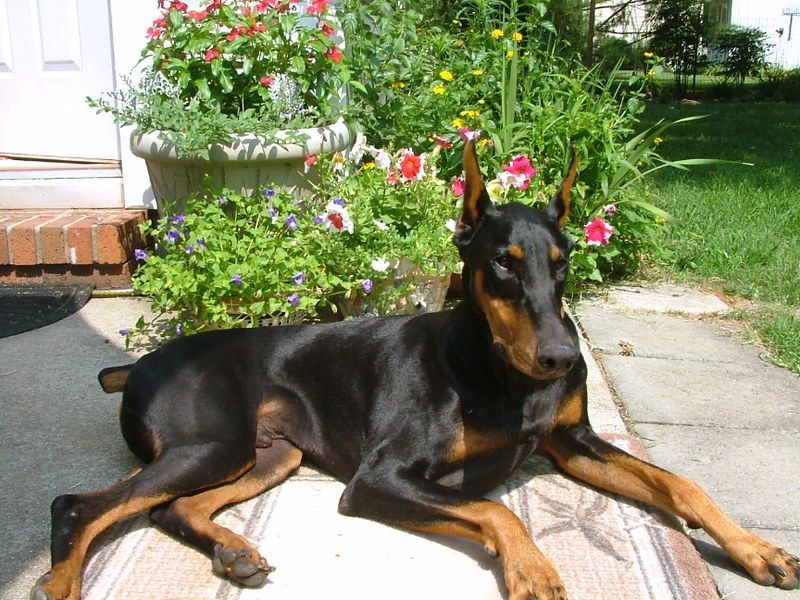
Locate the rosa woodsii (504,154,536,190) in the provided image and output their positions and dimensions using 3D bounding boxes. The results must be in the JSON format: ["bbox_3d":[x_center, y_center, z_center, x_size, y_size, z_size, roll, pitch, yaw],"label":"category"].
[{"bbox_3d":[0.739,-0.818,4.058,0.210,0.218,0.092,0,-2,1],"label":"rosa woodsii"}]

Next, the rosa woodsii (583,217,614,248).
[{"bbox_3d":[1.306,-0.481,4.349,0.183,0.185,0.090,4,-16,4],"label":"rosa woodsii"}]
